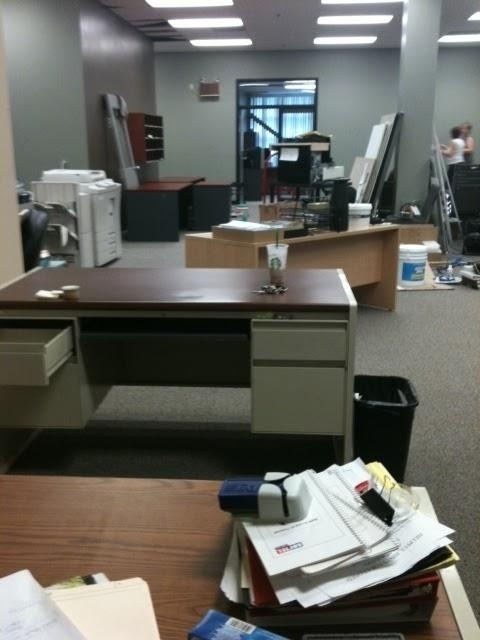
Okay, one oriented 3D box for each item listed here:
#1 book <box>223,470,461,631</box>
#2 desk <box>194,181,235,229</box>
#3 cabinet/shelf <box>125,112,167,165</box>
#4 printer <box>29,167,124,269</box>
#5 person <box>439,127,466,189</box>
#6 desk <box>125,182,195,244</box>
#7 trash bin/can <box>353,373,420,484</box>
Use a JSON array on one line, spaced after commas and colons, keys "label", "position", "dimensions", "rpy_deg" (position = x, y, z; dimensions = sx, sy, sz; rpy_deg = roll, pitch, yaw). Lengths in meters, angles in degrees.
[{"label": "book", "position": [0.136, 0.276, 0.714], "dimensions": [0.225, 0.057, 0.230], "rpy_deg": [-11, 19, -21]}, {"label": "desk", "position": [-0.667, -2.034, 8.971], "dimensions": [0.884, 0.659, 0.506], "rpy_deg": [13, 21, 38]}, {"label": "cabinet/shelf", "position": [-1.818, -3.225, 9.129], "dimensions": [0.391, 0.847, 1.342], "rpy_deg": [-1, 20, 5]}, {"label": "printer", "position": [-1.859, -1.238, 6.087], "dimensions": [0.711, 1.057, 1.080], "rpy_deg": [8, 22, 14]}, {"label": "person", "position": [3.409, -2.507, 8.188], "dimensions": [0.346, 1.096, 0.397], "rpy_deg": [-5, 15, -14]}, {"label": "desk", "position": [-1.451, -1.921, 8.880], "dimensions": [1.269, 0.854, 2.187], "rpy_deg": [-3, 18, -6]}, {"label": "trash bin/can", "position": [0.574, 0.428, 2.089], "dimensions": [0.279, 0.411, 0.295], "rpy_deg": [-7, 28, -12]}]
